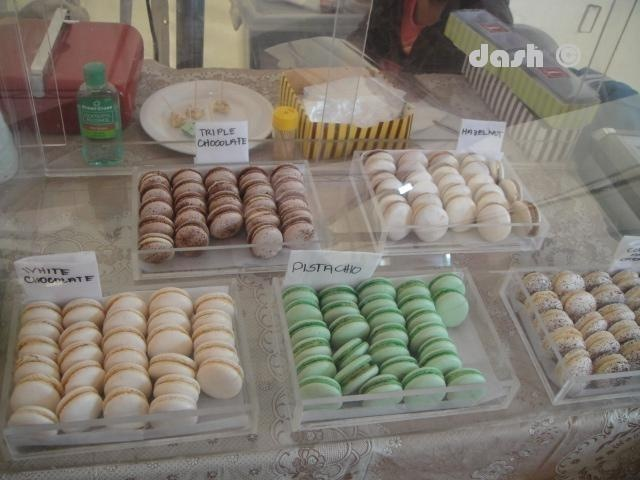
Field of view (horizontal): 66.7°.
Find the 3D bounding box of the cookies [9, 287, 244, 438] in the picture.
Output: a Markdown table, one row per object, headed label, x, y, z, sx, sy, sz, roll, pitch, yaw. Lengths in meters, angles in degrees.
| label | x | y | z | sx | sy | sz | roll | pitch | yaw |
| --- | --- | --- | --- | --- | --- | --- | --- | --- | --- |
| cookies | -0.363 | 0.209 | 0.913 | 0.351 | 0.106 | 0.240 | 0 | 53 | -11 |
